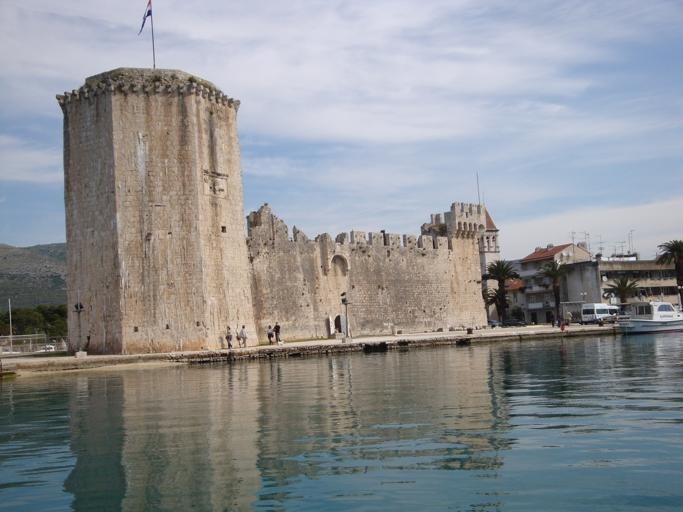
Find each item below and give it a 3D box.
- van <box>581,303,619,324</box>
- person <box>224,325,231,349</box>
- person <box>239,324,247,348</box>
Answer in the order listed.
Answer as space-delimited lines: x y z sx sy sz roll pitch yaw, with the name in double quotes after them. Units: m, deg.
19.683 4.197 57.823 2.494 1.193 1.455 -3 0 -22 "van"
-5.319 3.719 36.436 0.294 1.106 1.311 -3 -8 -8 "person"
-4.811 3.798 37.592 0.404 1.082 1.499 -3 -8 -6 "person"
